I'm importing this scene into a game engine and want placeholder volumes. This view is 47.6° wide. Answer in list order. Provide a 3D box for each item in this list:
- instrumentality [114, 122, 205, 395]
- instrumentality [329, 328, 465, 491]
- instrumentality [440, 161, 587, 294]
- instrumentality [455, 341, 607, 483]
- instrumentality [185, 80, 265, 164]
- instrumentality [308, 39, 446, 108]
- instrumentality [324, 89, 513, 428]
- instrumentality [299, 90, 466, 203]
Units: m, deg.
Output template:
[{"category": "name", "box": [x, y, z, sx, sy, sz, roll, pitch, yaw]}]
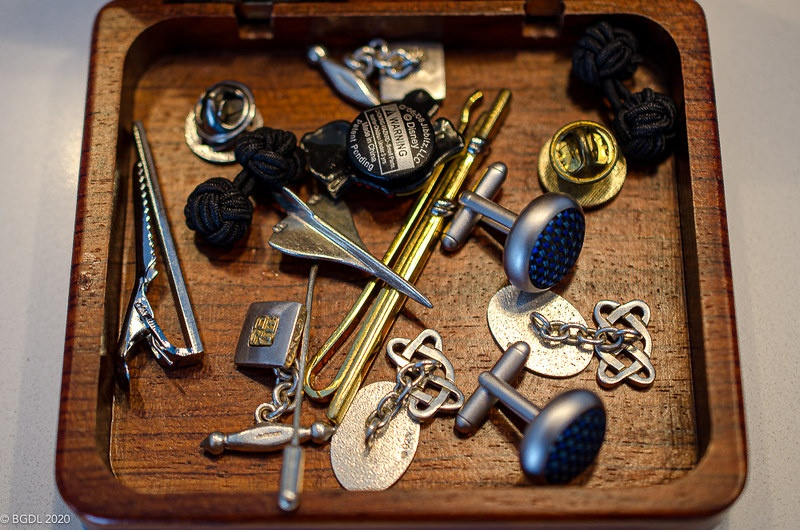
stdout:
[{"category": "instrumentality", "box": [-0.533, 0.003, 1.980, 0.143, 0.057, 0.527, -15, 72, -13]}, {"category": "instrumentality", "box": [-0.009, 0.315, 1.901, 0.189, 0.049, 0.336, 40, 82, 7]}, {"category": "instrumentality", "box": [0.243, -0.081, 1.923, 0.280, 0.186, 0.242, 34, 95, 30]}, {"category": "instrumentality", "box": [0.258, 0.288, 1.844, 0.270, 0.234, 0.178, 31, 86, 46]}, {"category": "instrumentality", "box": [-0.395, -0.311, 2.058, 0.173, 0.063, 0.186, -27, 75, 8]}, {"category": "instrumentality", "box": [-0.027, -0.422, 2.110, 0.143, 0.060, 0.241, -9, 30, -41]}, {"category": "instrumentality", "box": [0.037, 0.016, 1.924, 0.076, 0.060, 0.740, 23, 77, 18]}, {"category": "instrumentality", "box": [-0.042, -0.246, 1.963, 0.285, 0.071, 0.224, -22, 62, 4]}]
